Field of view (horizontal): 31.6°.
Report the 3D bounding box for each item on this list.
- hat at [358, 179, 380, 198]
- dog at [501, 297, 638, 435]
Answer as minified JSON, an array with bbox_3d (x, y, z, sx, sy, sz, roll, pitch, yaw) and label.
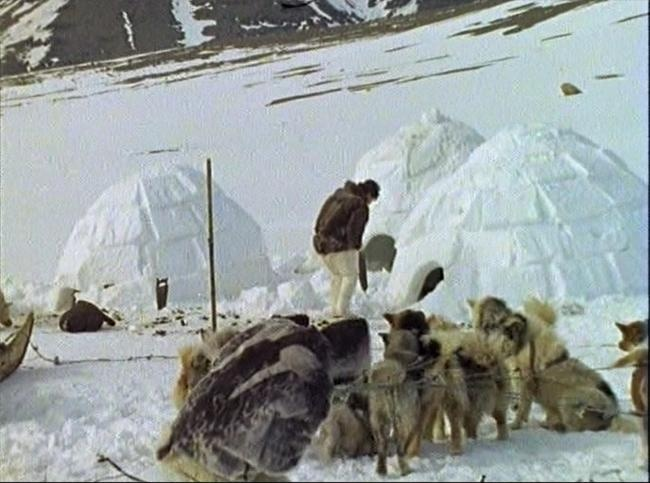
[{"bbox_3d":[0.270,-0.325,7.064,0.089,0.126,0.047,-33,11,-8],"label":"hat"},{"bbox_3d":[1.418,0.762,6.980,0.869,1.085,0.475,-4,-20,28],"label":"dog"}]
